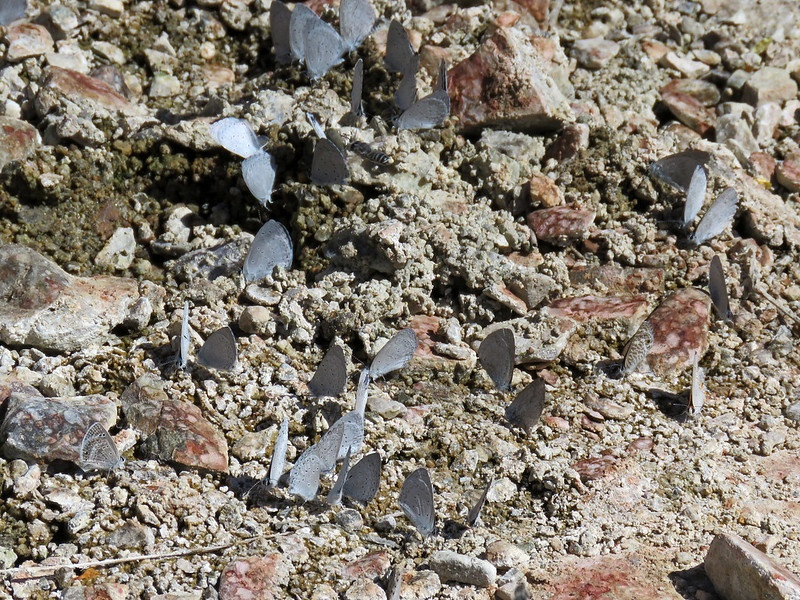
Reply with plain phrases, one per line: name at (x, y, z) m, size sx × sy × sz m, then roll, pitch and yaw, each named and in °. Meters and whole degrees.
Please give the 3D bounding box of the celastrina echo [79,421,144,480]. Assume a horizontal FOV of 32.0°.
celastrina echo at (-2.372, 1.223, 11.423) m, size 0.359 × 0.370 × 0.431 m, roll 18°, pitch 7°, yaw 38°

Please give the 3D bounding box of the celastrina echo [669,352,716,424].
celastrina echo at (2.508, 0.728, 12.214) m, size 0.278 × 0.364 × 0.559 m, roll 3°, pitch 49°, yaw 33°

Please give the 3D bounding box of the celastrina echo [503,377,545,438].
celastrina echo at (1.079, 0.847, 11.853) m, size 0.296 × 0.647 × 0.174 m, roll 34°, pitch 53°, yaw 14°

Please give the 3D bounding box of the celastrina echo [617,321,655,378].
celastrina echo at (2.098, 0.436, 12.367) m, size 0.108 × 0.381 × 0.402 m, roll 25°, pitch 85°, yaw 22°

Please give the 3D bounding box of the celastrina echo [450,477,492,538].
celastrina echo at (0.600, 1.721, 11.330) m, size 0.290 × 0.099 × 0.530 m, roll 21°, pitch 89°, yaw -30°

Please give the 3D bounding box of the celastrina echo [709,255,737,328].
celastrina echo at (2.860, -0.078, 12.525) m, size 0.139 × 0.668 × 0.173 m, roll -7°, pitch 37°, yaw 4°
